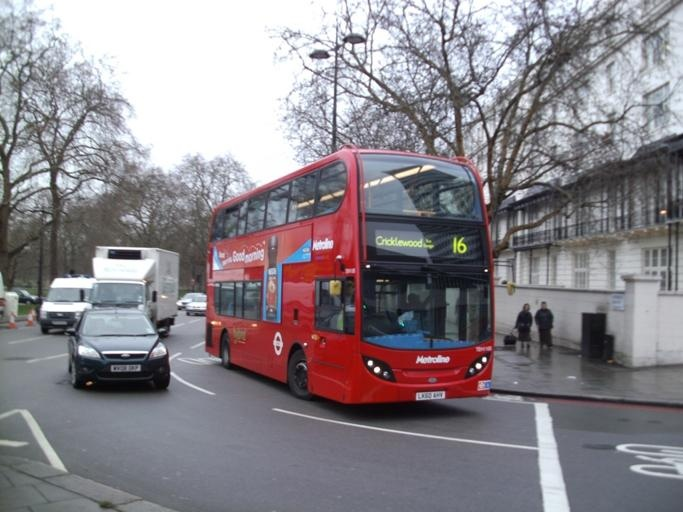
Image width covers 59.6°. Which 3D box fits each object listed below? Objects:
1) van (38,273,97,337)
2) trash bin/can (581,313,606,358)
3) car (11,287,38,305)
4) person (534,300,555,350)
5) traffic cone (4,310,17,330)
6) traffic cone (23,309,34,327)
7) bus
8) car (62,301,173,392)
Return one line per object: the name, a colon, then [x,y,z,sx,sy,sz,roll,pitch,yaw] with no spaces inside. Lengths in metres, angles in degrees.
van: [-11.665,2.065,25.294,2.319,2.405,4.509,0,-6,-7]
trash bin/can: [8.325,2.643,19.638,0.733,1.514,0.816,-1,-8,22]
car: [-28.692,3.625,54.055,2.354,1.214,1.502,1,-1,10]
person: [8.025,2.715,23.502,0.518,1.773,0.654,4,-8,-17]
traffic cone: [-17.919,3.470,32.245,0.686,0.971,0.754,2,-6,-26]
traffic cone: [-18.064,3.612,34.434,0.758,1.059,0.789,3,-3,-21]
bus: [-1.309,0.730,15.606,3.170,5.637,11.171,8,-11,-38]
car: [-5.215,2.115,13.821,2.275,1.888,1.763,-5,-11,39]
